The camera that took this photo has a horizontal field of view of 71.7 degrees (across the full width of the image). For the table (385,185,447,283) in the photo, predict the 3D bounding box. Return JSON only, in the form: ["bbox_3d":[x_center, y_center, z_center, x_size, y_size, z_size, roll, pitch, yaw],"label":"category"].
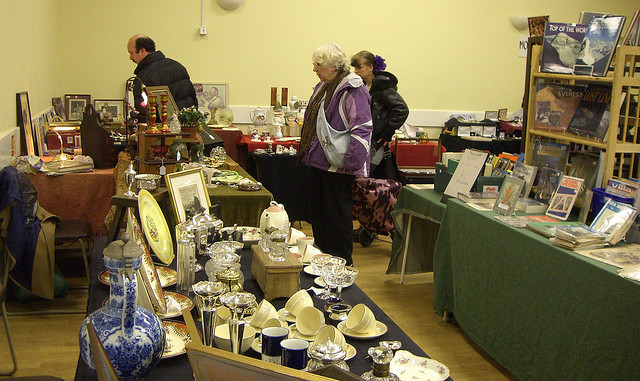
[{"bbox_3d":[0.947,0.409,4.557,0.817,0.912,0.875,0,9,-8],"label":"table"}]

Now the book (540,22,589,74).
[{"bbox_3d":[1.933,-1.112,3.482,0.419,0.462,0.069,11,3,25],"label":"book"}]

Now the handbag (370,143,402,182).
[{"bbox_3d":[0.791,-0.419,5.322,0.369,0.480,0.798,-6,-18,10],"label":"handbag"}]

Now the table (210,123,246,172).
[{"bbox_3d":[-1.326,-0.658,6.777,0.628,0.577,0.616,4,10,-5],"label":"table"}]

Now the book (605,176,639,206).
[{"bbox_3d":[2.084,0.007,3.052,0.170,0.174,0.046,29,27,35],"label":"book"}]

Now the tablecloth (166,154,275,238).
[{"bbox_3d":[-0.800,0.046,3.497,0.790,0.184,0.773,-3,30,-23],"label":"tablecloth"}]

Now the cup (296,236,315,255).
[{"bbox_3d":[-0.086,0.356,2.840,0.100,0.079,0.101,0,0,0],"label":"cup"}]

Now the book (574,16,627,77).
[{"bbox_3d":[2.089,-1.079,3.313,0.157,0.424,0.249,-12,18,-26],"label":"book"}]

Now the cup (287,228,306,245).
[{"bbox_3d":[-0.166,0.304,2.929,0.083,0.095,0.102,0,-1,0],"label":"cup"}]

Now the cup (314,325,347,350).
[{"bbox_3d":[0.045,0.657,2.012,0.089,0.109,0.120,5,11,-17],"label":"cup"}]

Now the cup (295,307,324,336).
[{"bbox_3d":[-0.050,0.633,2.131,0.130,0.127,0.080,13,2,38],"label":"cup"}]

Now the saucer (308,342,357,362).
[{"bbox_3d":[0.089,0.751,2.054,0.143,0.024,0.140,3,10,0],"label":"saucer"}]

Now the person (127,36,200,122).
[{"bbox_3d":[-1.941,-1.410,5.475,0.713,1.025,0.956,-9,17,-17],"label":"person"}]

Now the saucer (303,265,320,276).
[{"bbox_3d":[-0.047,0.471,2.575,0.100,0.023,0.099,3,6,0],"label":"saucer"}]

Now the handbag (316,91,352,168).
[{"bbox_3d":[0.118,-0.561,4.310,0.437,0.585,0.311,11,19,27],"label":"handbag"}]

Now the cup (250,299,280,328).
[{"bbox_3d":[-0.267,0.604,2.173,0.093,0.110,0.120,16,11,-2],"label":"cup"}]

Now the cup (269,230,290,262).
[{"bbox_3d":[-0.220,0.316,2.454,0.109,0.155,0.108,-1,2,0],"label":"cup"}]

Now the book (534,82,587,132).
[{"bbox_3d":[1.929,-0.667,3.610,0.093,0.367,0.407,-3,19,-43],"label":"book"}]

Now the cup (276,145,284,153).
[{"bbox_3d":[-0.521,-0.534,5.777,0.085,0.107,0.114,0,4,-7],"label":"cup"}]

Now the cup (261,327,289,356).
[{"bbox_3d":[-0.201,0.697,1.963,0.121,0.121,0.146,5,-11,-24],"label":"cup"}]

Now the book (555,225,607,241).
[{"bbox_3d":[1.725,0.285,2.924,0.146,0.034,0.146,-3,10,-20],"label":"book"}]

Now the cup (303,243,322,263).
[{"bbox_3d":[-0.048,0.392,2.797,0.079,0.094,0.108,12,25,1],"label":"cup"}]

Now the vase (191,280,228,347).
[{"bbox_3d":[-0.456,0.555,1.912,0.131,0.318,0.158,-10,17,-18],"label":"vase"}]

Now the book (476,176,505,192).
[{"bbox_3d":[1.469,-0.067,3.845,0.157,0.096,0.160,0,7,-2],"label":"book"}]

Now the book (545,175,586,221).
[{"bbox_3d":[1.857,0.054,3.327,0.266,0.299,0.159,-13,18,-29],"label":"book"}]

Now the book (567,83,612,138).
[{"bbox_3d":[2.072,-0.616,3.403,0.087,0.359,0.363,21,25,10],"label":"book"}]

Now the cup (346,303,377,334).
[{"bbox_3d":[0.201,0.630,2.235,0.105,0.131,0.141,16,31,-6],"label":"cup"}]

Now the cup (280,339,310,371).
[{"bbox_3d":[-0.117,0.704,1.893,0.104,0.109,0.126,2,5,20],"label":"cup"}]

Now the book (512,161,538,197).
[{"bbox_3d":[1.600,-0.080,3.579,0.219,0.288,0.031,8,2,-10],"label":"book"}]

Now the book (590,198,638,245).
[{"bbox_3d":[1.955,0.210,2.977,0.210,0.250,0.185,-8,16,-14],"label":"book"}]

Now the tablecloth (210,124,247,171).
[{"bbox_3d":[-1.407,-0.627,6.726,0.639,0.563,0.624,1,24,-17],"label":"tablecloth"}]

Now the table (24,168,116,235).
[{"bbox_3d":[-2.396,0.126,4.377,0.748,0.712,0.090,-7,16,-9],"label":"table"}]

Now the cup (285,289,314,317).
[{"bbox_3d":[-0.098,0.574,2.249,0.090,0.107,0.117,38,-6,7],"label":"cup"}]
